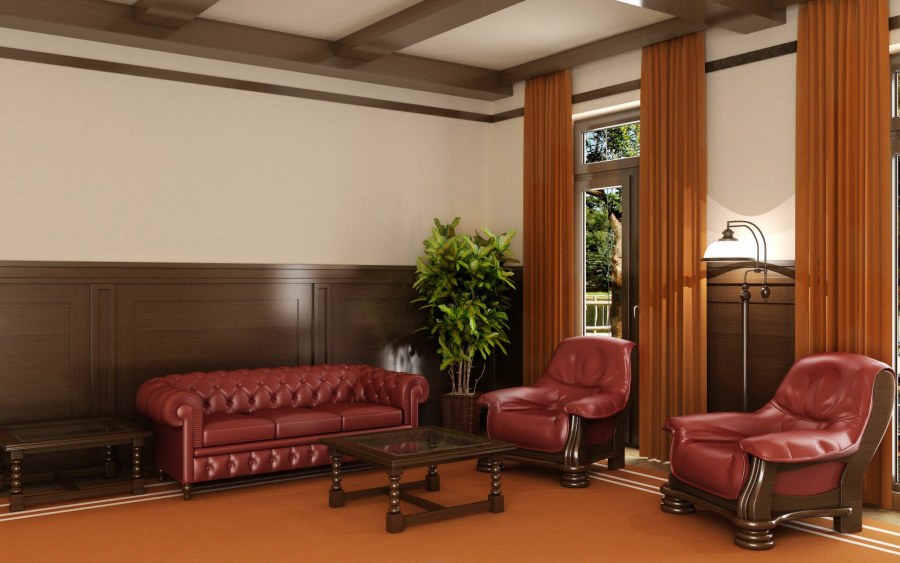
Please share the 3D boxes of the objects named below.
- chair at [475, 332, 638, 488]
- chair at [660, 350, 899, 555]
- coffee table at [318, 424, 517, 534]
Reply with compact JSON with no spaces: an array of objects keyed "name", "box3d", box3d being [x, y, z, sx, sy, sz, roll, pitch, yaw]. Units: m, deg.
[{"name":"chair","box3d":[1.147,1.286,7.179,1.641,1.517,1.810,5,-6,-37]},{"name":"chair","box3d":[2.871,1.393,5.790,1.874,1.368,1.643,2,-4,-19]},{"name":"coffee table","box3d":[-0.244,1.671,5.682,1.076,0.429,1.014,2,-3,-32]}]
